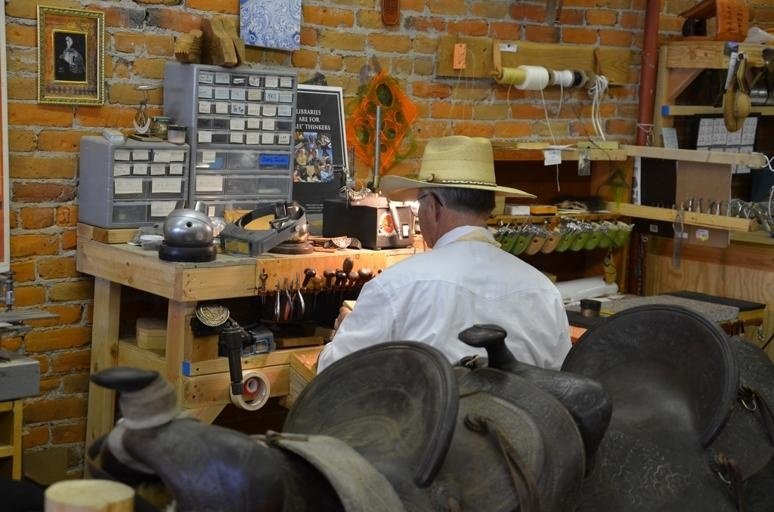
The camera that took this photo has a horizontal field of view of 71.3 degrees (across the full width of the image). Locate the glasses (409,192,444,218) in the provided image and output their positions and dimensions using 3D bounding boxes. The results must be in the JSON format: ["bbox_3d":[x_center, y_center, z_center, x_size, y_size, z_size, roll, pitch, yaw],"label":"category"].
[{"bbox_3d":[0.180,-0.230,2.389,0.151,0.154,0.051,1,3,9],"label":"glasses"}]

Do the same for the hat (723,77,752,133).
[{"bbox_3d":[2.407,-1.050,3.795,0.216,0.372,0.135,-10,13,-26],"label":"hat"}]

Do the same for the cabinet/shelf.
[{"bbox_3d":[1.219,-0.247,3.693,1.235,1.092,0.460,-5,6,-42],"label":"cabinet/shelf"}]

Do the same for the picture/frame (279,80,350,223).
[{"bbox_3d":[-0.468,-0.698,3.506,0.603,0.761,0.014,8,15,41],"label":"picture/frame"}]

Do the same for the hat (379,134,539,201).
[{"bbox_3d":[0.301,-0.409,2.486,0.707,0.293,0.845,10,11,43],"label":"hat"}]

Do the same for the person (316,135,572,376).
[{"bbox_3d":[0.280,-0.007,2.324,1.131,0.987,0.858,-1,1,-30],"label":"person"}]

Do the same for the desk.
[{"bbox_3d":[-0.936,0.512,3.306,0.853,0.986,1.545,5,1,26],"label":"desk"}]
